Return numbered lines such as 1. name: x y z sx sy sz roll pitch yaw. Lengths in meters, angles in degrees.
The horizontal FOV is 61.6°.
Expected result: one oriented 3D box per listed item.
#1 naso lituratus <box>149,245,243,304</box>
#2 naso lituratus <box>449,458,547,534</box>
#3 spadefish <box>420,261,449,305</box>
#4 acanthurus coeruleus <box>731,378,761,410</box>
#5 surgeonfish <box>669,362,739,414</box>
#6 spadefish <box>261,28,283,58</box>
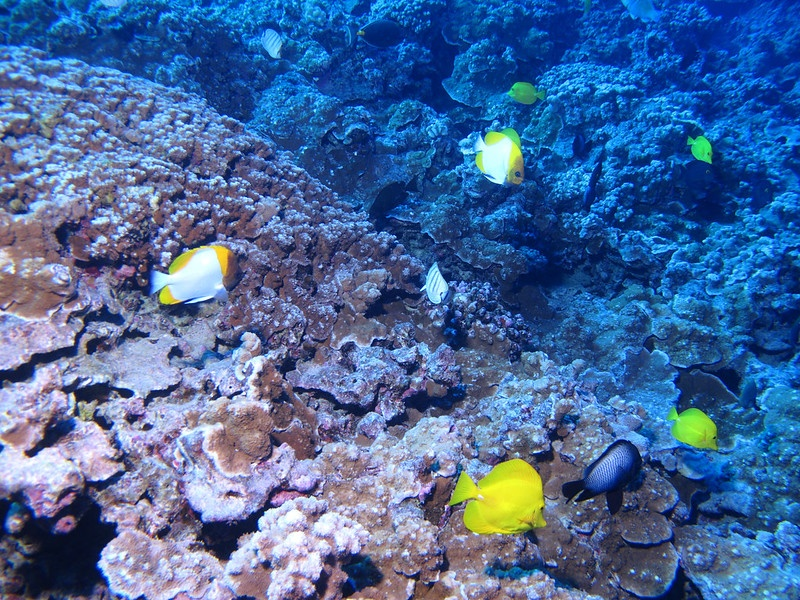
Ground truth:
1. naso lituratus: -2.445 -0.296 8.014 1.014 0.513 0.386 -10 50 -18
2. naso lituratus: 1.130 2.245 7.687 1.003 0.601 0.621 3 48 -7
3. spadefish: 0.489 -0.253 9.538 0.200 0.462 0.716 2 32 -15
4. acanthurus coeruleus: 5.326 1.423 10.250 0.232 0.186 0.557 -19 77 24
5. surgeonfish: 4.876 1.460 10.814 0.885 0.657 0.802 -8 15 -36
6. spadefish: -2.626 -5.218 13.783 0.411 0.767 0.512 -1 47 -10
